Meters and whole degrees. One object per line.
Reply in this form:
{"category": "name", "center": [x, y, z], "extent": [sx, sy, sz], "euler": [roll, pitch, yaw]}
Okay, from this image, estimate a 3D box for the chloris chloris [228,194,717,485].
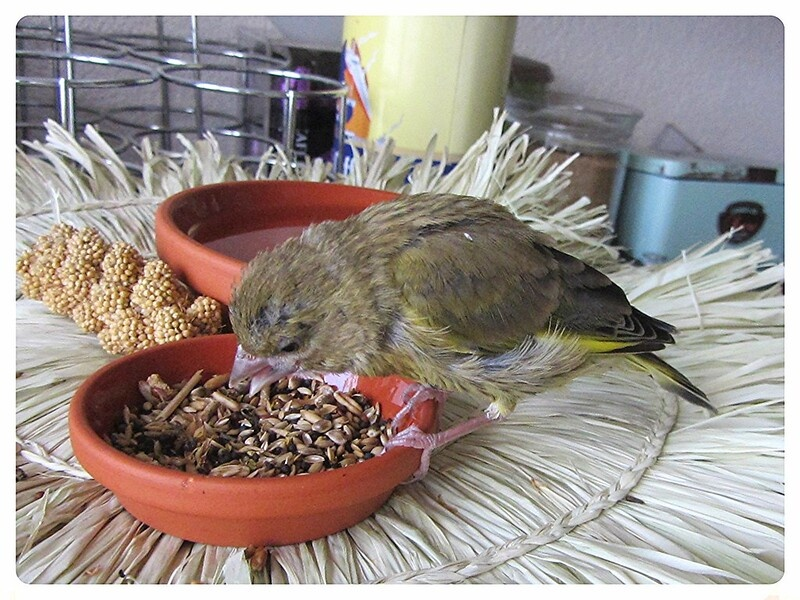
{"category": "chloris chloris", "center": [0.138, 0.057, 1.262], "extent": [1.008, 0.363, 0.330], "euler": [-6, 17, -21]}
